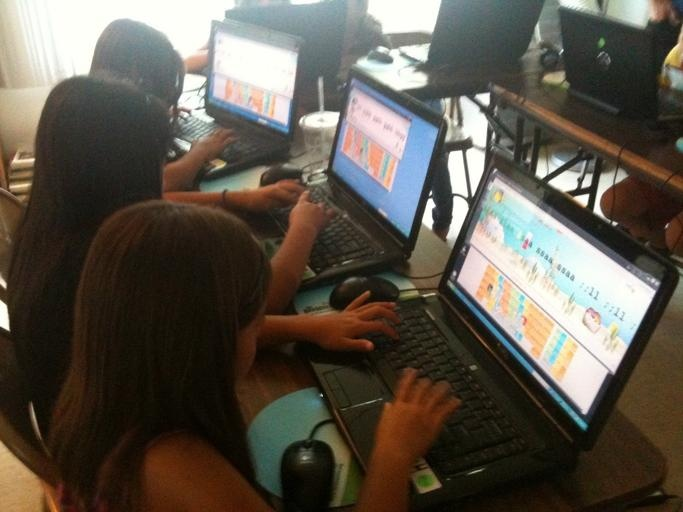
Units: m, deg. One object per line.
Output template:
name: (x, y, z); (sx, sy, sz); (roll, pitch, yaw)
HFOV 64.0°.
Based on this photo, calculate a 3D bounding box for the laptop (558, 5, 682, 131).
laptop: (1.012, -0.668, 1.985); (0.302, 0.303, 0.415); (-31, 41, -18)

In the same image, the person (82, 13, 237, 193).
person: (-0.572, -0.534, 2.068); (0.510, 0.522, 0.733); (-19, 47, -27)

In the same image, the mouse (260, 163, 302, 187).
mouse: (-0.202, -0.281, 1.854); (0.127, 0.053, 0.070); (-23, 20, -19)

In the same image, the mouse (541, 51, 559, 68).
mouse: (0.971, -0.920, 2.550); (0.064, 0.075, 0.067); (-24, 37, 13)

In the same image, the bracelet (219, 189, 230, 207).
bracelet: (-0.371, -0.185, 1.759); (0.018, 0.037, 0.050); (6, 51, -5)

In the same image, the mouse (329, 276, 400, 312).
mouse: (0.052, 0.086, 1.365); (0.146, 0.054, 0.083); (-10, 32, -6)
